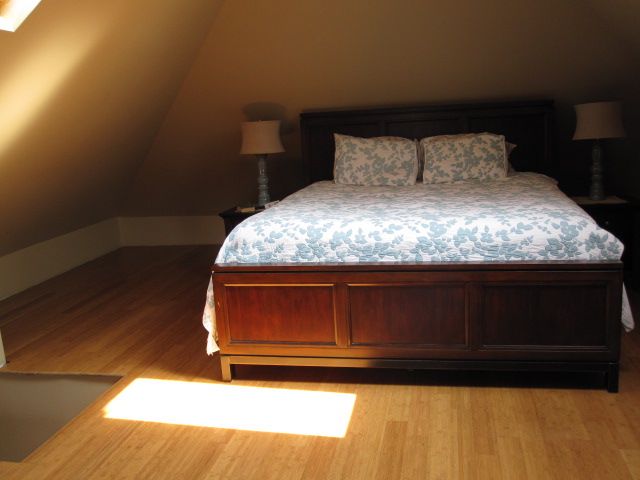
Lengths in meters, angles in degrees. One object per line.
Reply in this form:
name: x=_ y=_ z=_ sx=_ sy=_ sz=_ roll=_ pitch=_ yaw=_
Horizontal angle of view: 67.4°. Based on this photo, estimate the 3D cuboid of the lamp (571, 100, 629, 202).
lamp: x=2.218 y=-0.697 z=3.844 sx=0.528 sy=0.735 sz=0.511 roll=-5 pitch=5 yaw=-36

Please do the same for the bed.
bed: x=0.702 y=-0.198 z=3.476 sx=2.500 sy=1.533 sz=2.507 roll=-4 pitch=14 yaw=2
